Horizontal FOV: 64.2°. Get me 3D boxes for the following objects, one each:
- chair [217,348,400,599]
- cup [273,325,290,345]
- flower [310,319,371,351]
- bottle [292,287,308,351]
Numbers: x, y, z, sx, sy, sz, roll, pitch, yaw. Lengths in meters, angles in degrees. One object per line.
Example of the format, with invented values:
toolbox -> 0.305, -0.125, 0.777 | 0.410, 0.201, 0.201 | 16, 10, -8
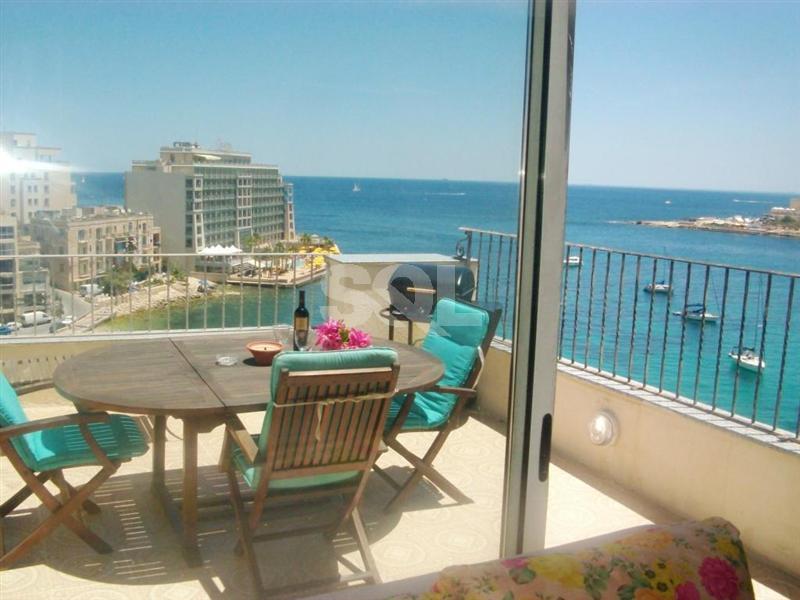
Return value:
chair -> -0.284, 0.454, 2.033 | 0.521, 0.801, 0.658 | -2, 7, -23
cup -> -0.462, 0.130, 2.462 | 0.068, 0.087, 0.067 | 0, 10, 0
flower -> -0.188, 0.117, 2.039 | 0.122, 0.070, 0.123 | 6, -5, -41
bottle -> -0.349, 0.058, 2.202 | 0.066, 0.247, 0.063 | 4, 47, -4
